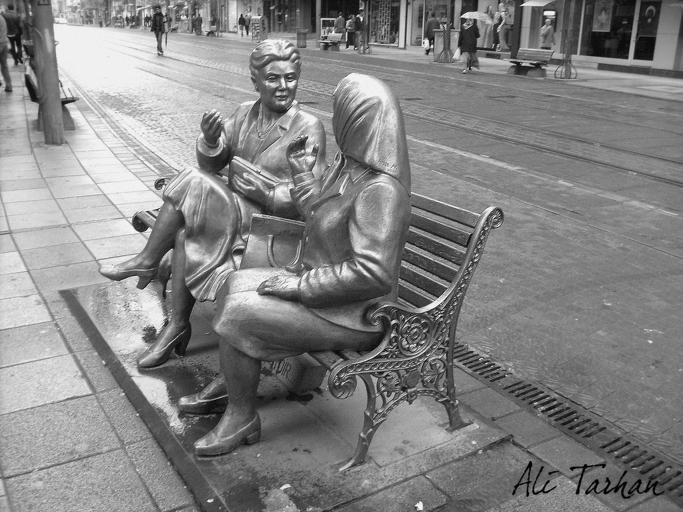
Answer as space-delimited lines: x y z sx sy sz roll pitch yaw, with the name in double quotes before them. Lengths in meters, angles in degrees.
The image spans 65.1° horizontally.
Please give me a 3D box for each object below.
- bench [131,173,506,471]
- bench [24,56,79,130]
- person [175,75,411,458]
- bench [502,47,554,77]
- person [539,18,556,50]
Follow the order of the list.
"bench" -0.179 0.404 2.935 0.675 0.762 1.517 -7 14 -31
"bench" -8.203 -4.948 14.761 1.101 1.490 3.088 -9 44 -31
"person" -0.161 0.072 2.640 0.938 1.837 0.556 1 21 -2
"bench" 7.842 -8.100 22.350 1.354 1.066 1.964 -2 21 -9
"person" 10.102 -10.980 26.284 0.637 1.498 2.254 9 22 18
